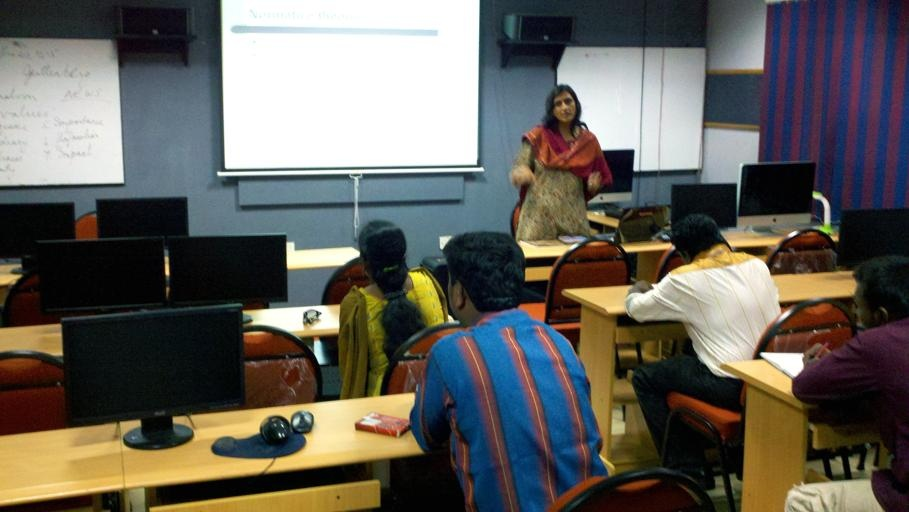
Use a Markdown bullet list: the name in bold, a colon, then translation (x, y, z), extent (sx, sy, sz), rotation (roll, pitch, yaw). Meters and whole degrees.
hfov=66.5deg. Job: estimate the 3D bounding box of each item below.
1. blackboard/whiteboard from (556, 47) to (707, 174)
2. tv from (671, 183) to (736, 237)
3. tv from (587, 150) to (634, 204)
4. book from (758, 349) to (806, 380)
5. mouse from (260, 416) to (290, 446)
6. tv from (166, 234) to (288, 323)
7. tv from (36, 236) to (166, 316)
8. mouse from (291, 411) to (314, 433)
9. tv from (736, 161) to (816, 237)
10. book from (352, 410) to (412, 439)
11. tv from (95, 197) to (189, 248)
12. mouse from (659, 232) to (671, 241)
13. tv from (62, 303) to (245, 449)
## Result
- **blackboard/whiteboard**: translation (1.931, -1.684, 7.753), extent (1.932, 1.375, 0.075), rotation (-1, 3, -15)
- **tv**: translation (2.099, -0.406, 5.879), extent (0.611, 0.401, 0.149), rotation (-1, 3, -15)
- **tv**: translation (1.552, -0.806, 6.937), extent (0.659, 0.600, 0.229), rotation (-2, 6, -16)
- **book**: translation (1.887, 0.612, 3.950), extent (0.154, 0.022, 0.161), rotation (-11, 21, -31)
- **mouse**: translation (-0.886, 0.858, 3.427), extent (0.151, 0.128, 0.086), rotation (-4, 7, -16)
- **tv**: translation (-1.467, 0.130, 4.440), extent (0.635, 0.412, 0.156), rotation (-1, 3, -10)
- **tv**: translation (-2.290, 0.113, 4.517), extent (0.764, 0.439, 0.071), rotation (-4, 3, -43)
- **mouse**: translation (-0.768, 0.832, 3.478), extent (0.110, 0.079, 0.100), rotation (1, 13, -10)
- **tv**: translation (2.900, -0.533, 6.413), extent (0.743, 0.658, 0.236), rotation (-4, 17, -9)
- **book**: translation (-0.358, 0.846, 3.489), extent (0.176, 0.040, 0.128), rotation (4, 10, 21)
- **tv**: translation (-2.656, -0.322, 5.853), extent (0.809, 0.488, 0.183), rotation (-4, 15, -15)
- **mouse**: translation (1.890, -0.178, 6.237), extent (0.086, 0.083, 0.088), rotation (3, 6, 24)
- **tv**: translation (-1.467, 0.600, 3.445), extent (0.899, 0.618, 0.334), rotation (-6, -2, 1)
